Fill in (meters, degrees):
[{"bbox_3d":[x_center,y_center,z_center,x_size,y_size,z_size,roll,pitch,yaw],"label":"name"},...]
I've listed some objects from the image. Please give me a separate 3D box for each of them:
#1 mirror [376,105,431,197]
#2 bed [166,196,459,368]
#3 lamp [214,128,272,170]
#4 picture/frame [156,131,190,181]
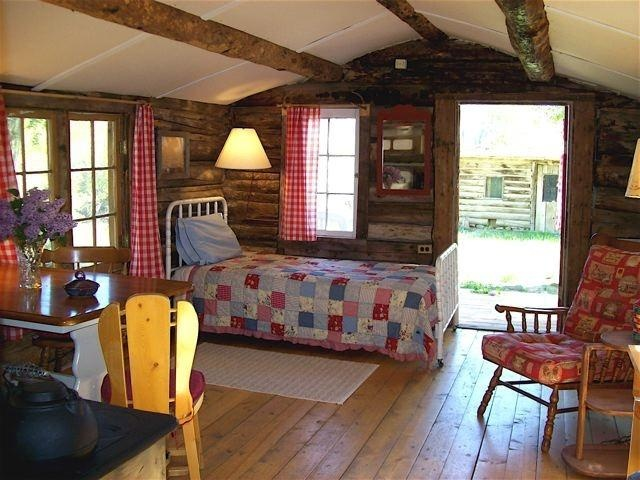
[{"bbox_3d":[0.953,-1.019,5.758,0.639,1.016,0.200,2,11,7],"label":"mirror"},{"bbox_3d":[-0.156,0.271,5.215,2.842,1.216,1.588,1,8,18],"label":"bed"},{"bbox_3d":[-0.866,-1.098,5.932,0.783,0.390,0.638,3,22,10],"label":"lamp"},{"bbox_3d":[-1.571,-0.909,5.365,0.051,0.519,0.646,6,9,27],"label":"picture/frame"}]
